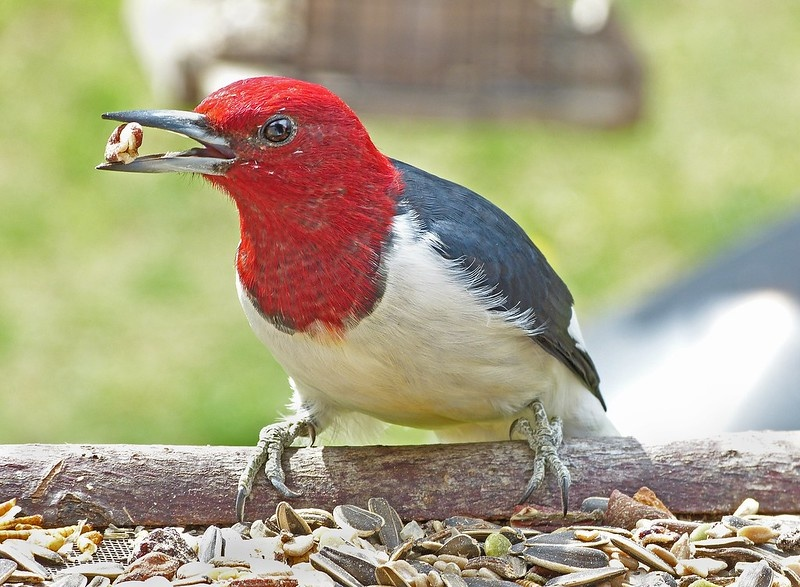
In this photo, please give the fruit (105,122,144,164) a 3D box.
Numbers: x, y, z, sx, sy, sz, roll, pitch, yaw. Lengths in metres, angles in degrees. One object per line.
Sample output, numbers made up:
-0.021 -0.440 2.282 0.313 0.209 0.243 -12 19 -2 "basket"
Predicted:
-1.016 -0.555 4.249 0.128 0.161 0.064 18 -13 31 "fruit"
